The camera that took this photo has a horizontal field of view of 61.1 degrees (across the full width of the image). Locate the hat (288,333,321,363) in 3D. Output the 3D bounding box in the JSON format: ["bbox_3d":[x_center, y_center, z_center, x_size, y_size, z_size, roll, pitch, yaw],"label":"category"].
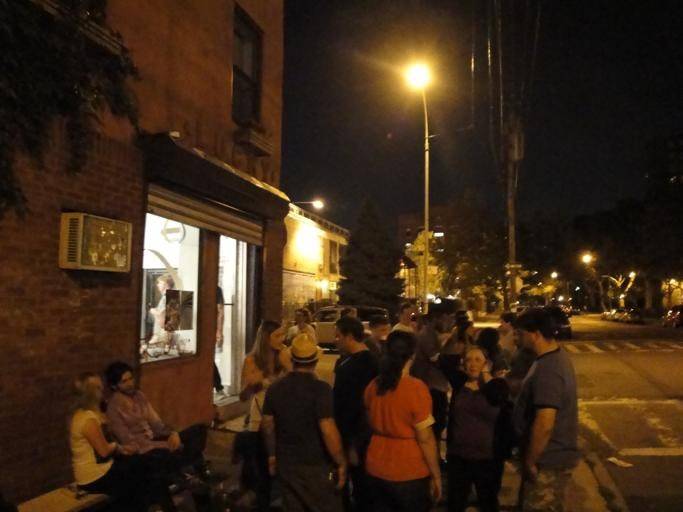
[{"bbox_3d":[-0.337,0.885,5.557,0.294,0.282,0.210,1,-6,-21],"label":"hat"}]

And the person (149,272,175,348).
[{"bbox_3d":[-2.673,0.775,8.595,0.164,1.034,0.555,-2,-5,13],"label":"person"}]

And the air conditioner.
[{"bbox_3d":[-2.739,-0.144,6.503,0.257,0.621,0.833,-2,-6,20],"label":"air conditioner"}]
